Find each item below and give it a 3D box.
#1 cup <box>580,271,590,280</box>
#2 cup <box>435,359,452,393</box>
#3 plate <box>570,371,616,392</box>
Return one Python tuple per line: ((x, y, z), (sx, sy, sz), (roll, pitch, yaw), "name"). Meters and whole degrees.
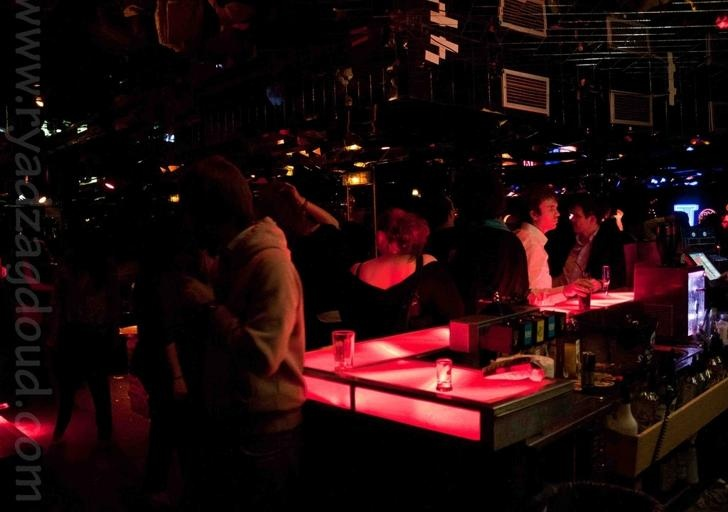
((2.047, 0.170, 6.071), (0.072, 0.078, 0.072), (-3, 4, 0), "cup")
((0.484, 0.709, 3.961), (0.104, 0.180, 0.173), (5, 7, 7), "cup")
((1.576, 0.845, 4.422), (0.220, 0.034, 0.128), (-4, 11, -14), "plate")
